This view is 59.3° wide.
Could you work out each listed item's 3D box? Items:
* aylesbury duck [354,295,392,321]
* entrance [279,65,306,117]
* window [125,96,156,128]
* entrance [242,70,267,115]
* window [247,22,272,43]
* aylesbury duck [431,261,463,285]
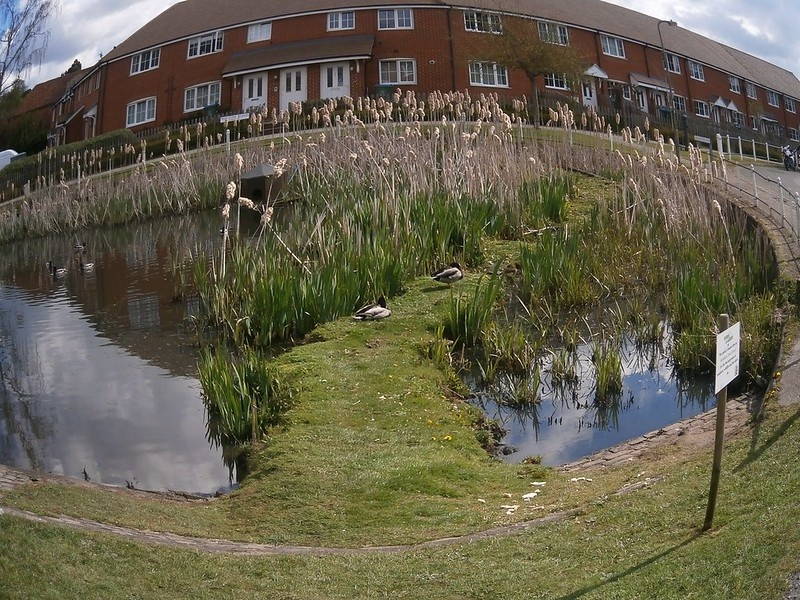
[{"bbox_3d":[-0.299,0.111,8.957,0.531,0.306,0.422,-1,3,-29],"label":"aylesbury duck"},{"bbox_3d":[-5.293,-10.544,35.104,1.369,0.407,2.888,-13,-28,-17],"label":"entrance"},{"bbox_3d":[-14.160,-10.257,38.659,1.594,1.545,0.184,-6,-13,19],"label":"window"},{"bbox_3d":[-7.378,-10.373,35.309,1.515,1.904,0.578,2,1,32],"label":"entrance"},{"bbox_3d":[-7.217,-13.849,36.587,0.866,0.860,0.086,-1,1,15],"label":"window"},{"bbox_3d":[0.660,-0.358,9.658,0.364,0.285,0.555,1,3,3],"label":"aylesbury duck"}]
